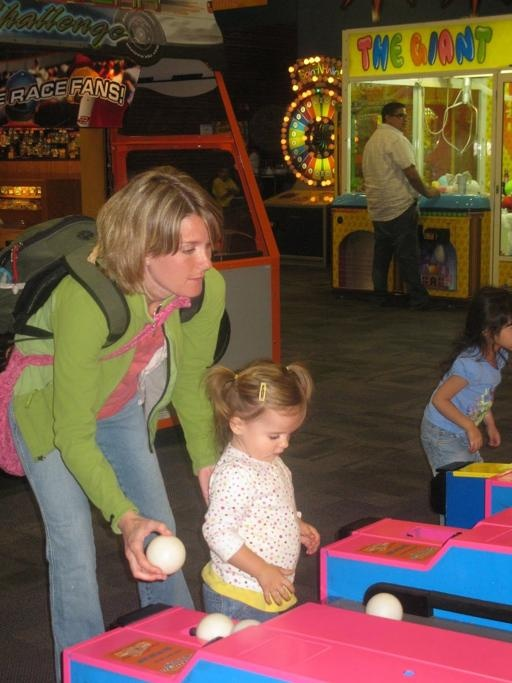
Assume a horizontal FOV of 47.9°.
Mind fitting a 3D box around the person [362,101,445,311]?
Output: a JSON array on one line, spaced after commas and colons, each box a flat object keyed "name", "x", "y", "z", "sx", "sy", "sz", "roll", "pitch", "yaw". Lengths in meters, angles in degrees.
[{"name": "person", "x": 1.835, "y": -1.837, "z": 7.682, "sx": 1.023, "sy": 2.779, "sz": 0.993, "roll": -20, "pitch": 27, "yaw": -37}]

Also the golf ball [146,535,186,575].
[{"name": "golf ball", "x": -0.160, "y": 0.387, "z": 1.037, "sx": 0.068, "sy": 0.066, "sz": 0.064, "roll": -6, "pitch": -11, "yaw": -1}]

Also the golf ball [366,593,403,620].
[{"name": "golf ball", "x": 0.197, "y": 0.412, "z": 0.894, "sx": 0.049, "sy": 0.032, "sz": 0.082, "roll": -9, "pitch": -11, "yaw": 14}]

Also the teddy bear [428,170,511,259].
[{"name": "teddy bear", "x": 3.013, "y": -1.824, "z": 7.709, "sx": 1.192, "sy": 1.486, "sz": 0.856, "roll": 8, "pitch": 16, "yaw": 38}]
